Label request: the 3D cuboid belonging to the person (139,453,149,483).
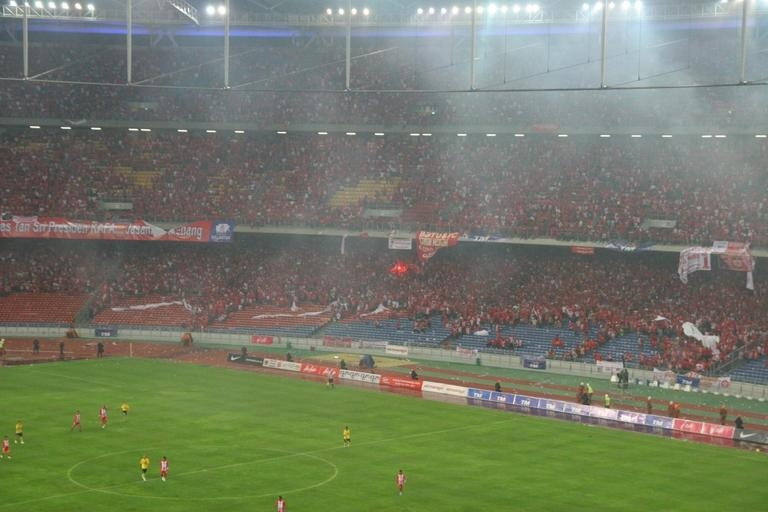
[{"bbox_3d":[-17.712,15.670,74.959,0.615,1.814,1.433,2,-1,-15],"label":"person"}]
